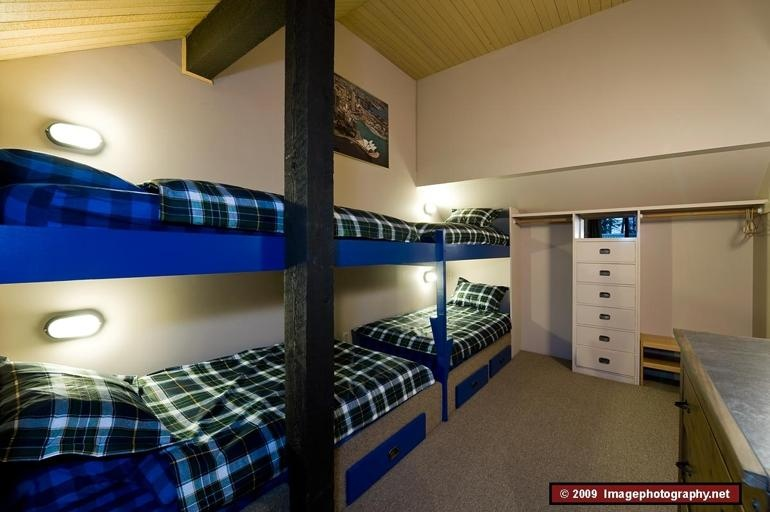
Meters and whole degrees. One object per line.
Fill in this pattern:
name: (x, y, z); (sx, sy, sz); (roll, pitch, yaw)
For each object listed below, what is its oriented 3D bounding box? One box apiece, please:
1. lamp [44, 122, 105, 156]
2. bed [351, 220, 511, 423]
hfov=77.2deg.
lamp: (-2.326, -0.891, 3.634); (0.414, 0.107, 0.283); (-6, 13, 17)
bed: (0.441, 0.634, 4.566); (1.151, 1.749, 1.835); (-2, 0, 36)
